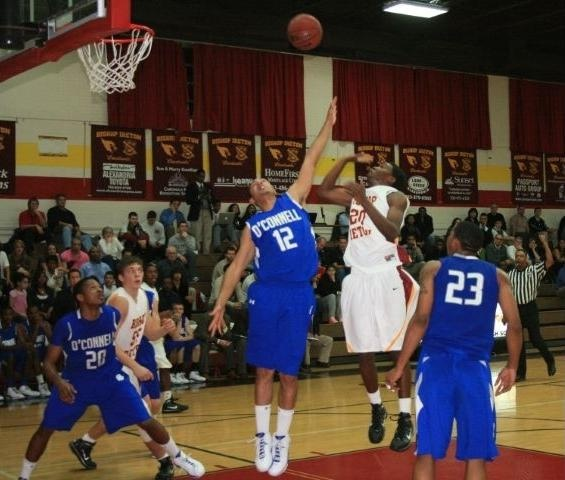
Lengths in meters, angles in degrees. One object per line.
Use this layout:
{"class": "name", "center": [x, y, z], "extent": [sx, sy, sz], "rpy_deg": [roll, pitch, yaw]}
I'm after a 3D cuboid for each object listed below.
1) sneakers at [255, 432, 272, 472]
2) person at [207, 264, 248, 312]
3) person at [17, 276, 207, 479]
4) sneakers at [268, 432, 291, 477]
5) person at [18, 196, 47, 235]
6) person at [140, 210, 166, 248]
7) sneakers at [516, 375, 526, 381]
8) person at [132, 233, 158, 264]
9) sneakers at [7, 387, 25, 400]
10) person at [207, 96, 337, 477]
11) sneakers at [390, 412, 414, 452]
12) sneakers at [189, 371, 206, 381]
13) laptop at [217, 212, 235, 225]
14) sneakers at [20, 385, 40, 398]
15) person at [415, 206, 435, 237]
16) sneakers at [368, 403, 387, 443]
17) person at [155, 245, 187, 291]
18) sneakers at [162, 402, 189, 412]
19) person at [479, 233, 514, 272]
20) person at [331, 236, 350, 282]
{"class": "sneakers", "center": [-0.126, 1.478, 4.207], "extent": [0.090, 0.301, 0.116], "rpy_deg": [-4, -20, 9]}
{"class": "person", "center": [-0.954, 0.826, 10.650], "extent": [0.510, 0.836, 0.666], "rpy_deg": [3, 5, -23]}
{"class": "person", "center": [-1.719, 1.399, 5.986], "extent": [1.466, 1.860, 1.025], "rpy_deg": [6, -35, -46]}
{"class": "sneakers", "center": [-0.018, 1.505, 4.258], "extent": [0.102, 0.343, 0.132], "rpy_deg": [1, -13, 9]}
{"class": "person", "center": [-5.362, -0.447, 12.956], "extent": [0.560, 0.826, 0.788], "rpy_deg": [-1, -1, -31]}
{"class": "person", "center": [-2.994, -0.237, 13.856], "extent": [0.550, 0.842, 0.552], "rpy_deg": [-6, 20, -23]}
{"class": "sneakers", "center": [3.786, 2.147, 9.547], "extent": [0.130, 0.094, 0.072], "rpy_deg": [-6, 9, -30]}
{"class": "person", "center": [-2.739, 0.166, 11.989], "extent": [0.328, 0.468, 0.766], "rpy_deg": [-4, 35, -39]}
{"class": "sneakers", "center": [-3.836, 2.185, 8.683], "extent": [0.302, 0.144, 0.124], "rpy_deg": [4, 3, 40]}
{"class": "person", "center": [-0.065, 0.366, 4.411], "extent": [0.837, 2.566, 0.410], "rpy_deg": [0, -2, -2]}
{"class": "sneakers", "center": [0.882, 1.395, 4.460], "extent": [0.116, 0.175, 0.364], "rpy_deg": [-2, 1, 18]}
{"class": "sneakers", "center": [-1.366, 2.182, 9.710], "extent": [0.316, 0.228, 0.117], "rpy_deg": [2, 2, -6]}
{"class": "laptop", "center": [-1.345, -0.500, 14.362], "extent": [0.368, 0.286, 0.254], "rpy_deg": [0, 11, -21]}
{"class": "sneakers", "center": [-3.683, 2.202, 8.796], "extent": [0.352, 0.165, 0.124], "rpy_deg": [7, 5, -2]}
{"class": "person", "center": [3.920, -0.496, 16.776], "extent": [0.599, 0.861, 1.020], "rpy_deg": [-6, -5, 8]}
{"class": "sneakers", "center": [0.792, 1.453, 4.937], "extent": [0.107, 0.167, 0.373], "rpy_deg": [-2, 4, 11]}
{"class": "person", "center": [-2.146, 0.527, 11.571], "extent": [0.581, 0.863, 0.361], "rpy_deg": [-2, 11, -20]}
{"class": "sneakers", "center": [-1.339, 2.070, 7.526], "extent": [0.359, 0.181, 0.125], "rpy_deg": [0, -2, -2]}
{"class": "person", "center": [5.590, 0.395, 15.488], "extent": [0.767, 1.106, 0.804], "rpy_deg": [-4, 8, -31]}
{"class": "person", "center": [1.308, 0.480, 12.669], "extent": [0.420, 1.088, 0.557], "rpy_deg": [-1, 2, -11]}
